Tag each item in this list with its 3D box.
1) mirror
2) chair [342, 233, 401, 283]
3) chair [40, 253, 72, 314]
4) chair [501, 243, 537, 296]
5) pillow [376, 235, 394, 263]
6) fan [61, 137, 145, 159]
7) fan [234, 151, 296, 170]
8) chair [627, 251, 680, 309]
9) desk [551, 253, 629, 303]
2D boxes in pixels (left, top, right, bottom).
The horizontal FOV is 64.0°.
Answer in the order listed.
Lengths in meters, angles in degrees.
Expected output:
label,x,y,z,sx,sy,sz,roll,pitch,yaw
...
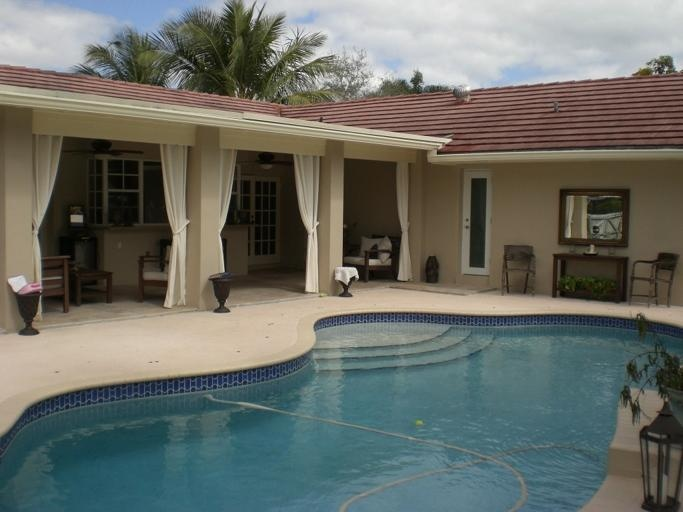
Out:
label,x,y,z,sx,sy,sz,roll,pitch,yaw
mirror,5.337,-0.803,11.591,1.391,1.280,0.346,7,11,22
chair,0.816,-0.024,14.058,1.007,1.240,1.692,0,1,-24
chair,-4.460,0.447,9.169,0.926,0.931,0.784,0,-1,-14
chair,3.983,0.308,12.309,0.732,1.198,0.642,1,2,11
pillow,1.095,-0.135,13.802,0.205,0.415,0.601,22,1,-7
fan,-5.266,-2.347,11.987,1.710,0.411,1.115,-1,11,-18
fan,-2.055,-2.500,14.512,1.411,0.492,2.630,1,11,-11
chair,6.349,0.475,11.004,0.985,1.646,0.945,1,1,-24
desk,5.212,0.385,11.567,1.368,0.941,0.599,2,16,30
